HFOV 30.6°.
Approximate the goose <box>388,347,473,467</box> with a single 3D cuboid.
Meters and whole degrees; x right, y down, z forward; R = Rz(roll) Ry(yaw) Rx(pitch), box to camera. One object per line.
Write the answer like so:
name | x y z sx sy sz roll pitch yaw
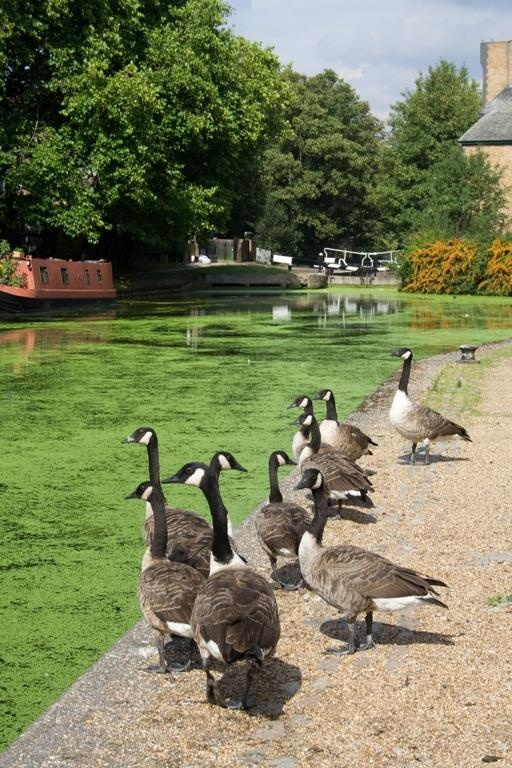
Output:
goose | 1.589 0.327 8.635 0.608 0.876 1.007 -2 9 12
